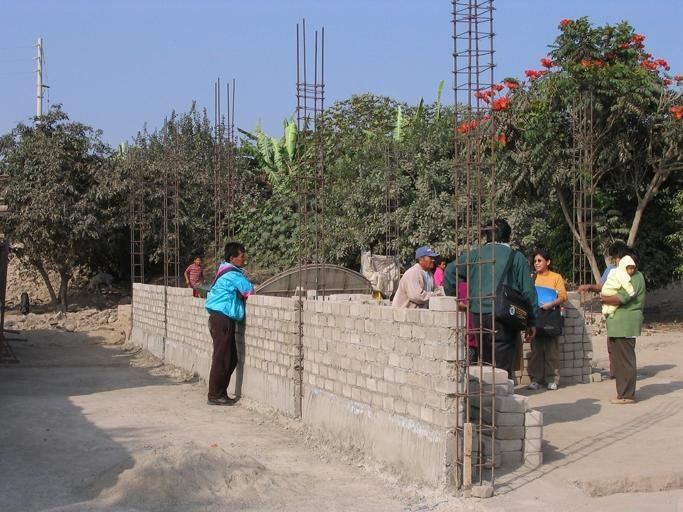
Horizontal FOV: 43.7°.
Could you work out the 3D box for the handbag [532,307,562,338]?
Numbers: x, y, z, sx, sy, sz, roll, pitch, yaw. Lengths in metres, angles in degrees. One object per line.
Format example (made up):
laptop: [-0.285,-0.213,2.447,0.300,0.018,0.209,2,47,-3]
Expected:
handbag: [3.143,1.009,13.074,0.359,0.551,0.271,-1,-24,7]

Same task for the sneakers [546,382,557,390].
sneakers: [3.343,2.075,13.556,0.073,0.098,0.133,-5,-26,28]

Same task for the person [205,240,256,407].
person: [-1.930,1.150,14.492,0.746,2.689,0.466,-2,5,-13]

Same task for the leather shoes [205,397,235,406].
leather shoes: [-2.024,2.455,14.399,0.357,0.191,0.193,0,-2,-9]

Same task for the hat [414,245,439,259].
hat: [1.296,-0.042,13.019,0.282,0.187,0.233,-1,1,-7]

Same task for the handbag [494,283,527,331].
handbag: [2.240,0.704,11.394,0.218,0.458,0.431,-8,-24,42]
